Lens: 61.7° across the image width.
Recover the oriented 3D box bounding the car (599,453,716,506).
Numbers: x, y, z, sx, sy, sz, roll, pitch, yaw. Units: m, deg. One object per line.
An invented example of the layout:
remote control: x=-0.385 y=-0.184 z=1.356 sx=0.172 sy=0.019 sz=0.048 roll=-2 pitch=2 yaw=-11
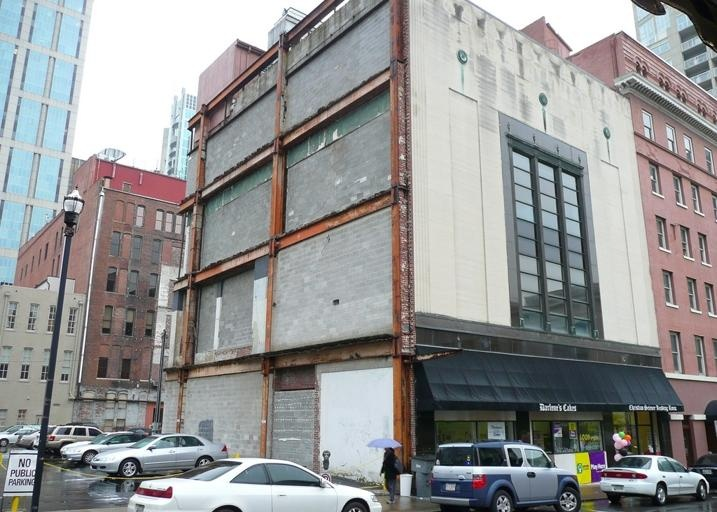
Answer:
car: x=13.004 y=9.962 z=26.609 sx=4.818 sy=2.057 sz=1.443 roll=9 pitch=-25 yaw=-24

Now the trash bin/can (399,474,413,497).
trash bin/can: x=1.985 y=9.739 z=25.535 sx=0.936 sy=0.916 sz=0.725 roll=5 pitch=-20 yaw=-9
